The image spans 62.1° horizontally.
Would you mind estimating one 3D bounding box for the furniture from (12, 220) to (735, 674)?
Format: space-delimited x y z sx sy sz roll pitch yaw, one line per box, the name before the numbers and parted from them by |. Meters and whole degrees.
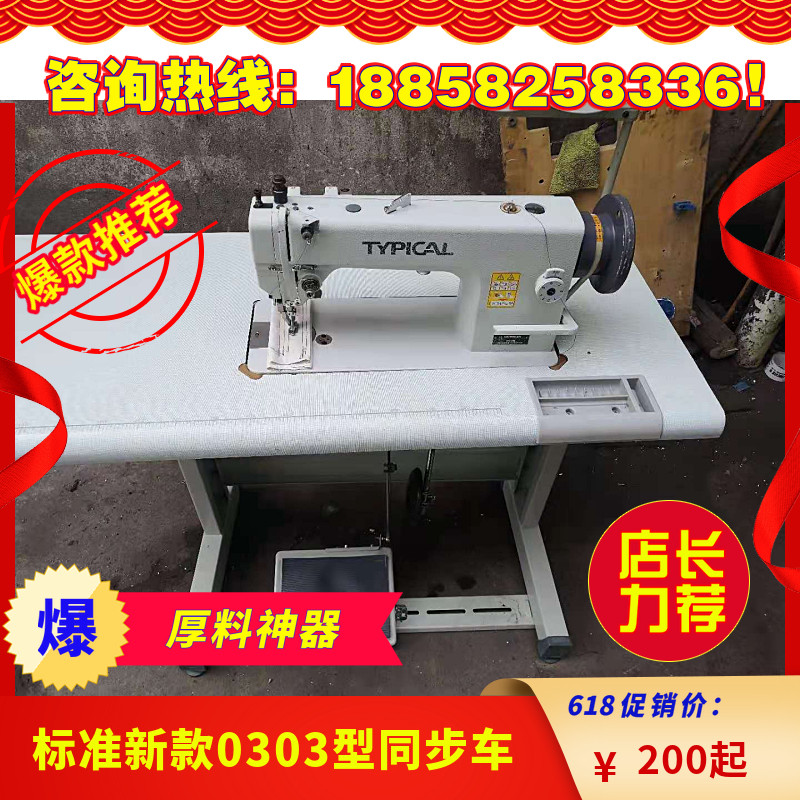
furniture | -0.133 0.618 3.096 3.056 1.874 1.521 -1 63 -2
